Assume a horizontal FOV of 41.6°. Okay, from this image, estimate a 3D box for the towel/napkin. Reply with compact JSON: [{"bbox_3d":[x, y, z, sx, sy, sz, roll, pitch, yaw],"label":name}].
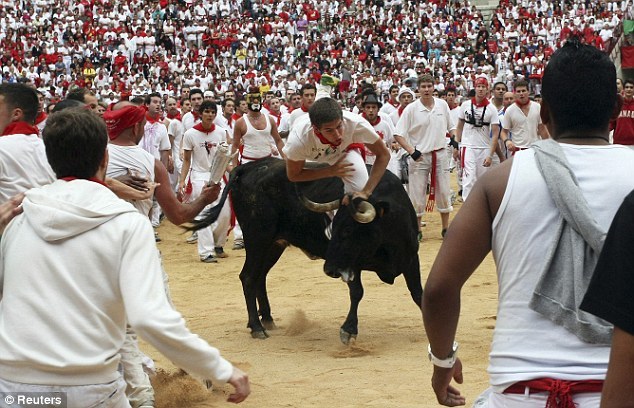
[{"bbox_3d":[1.246,0.210,4.252,0.357,0.941,0.361,1,-3,0],"label":"towel/napkin"}]
